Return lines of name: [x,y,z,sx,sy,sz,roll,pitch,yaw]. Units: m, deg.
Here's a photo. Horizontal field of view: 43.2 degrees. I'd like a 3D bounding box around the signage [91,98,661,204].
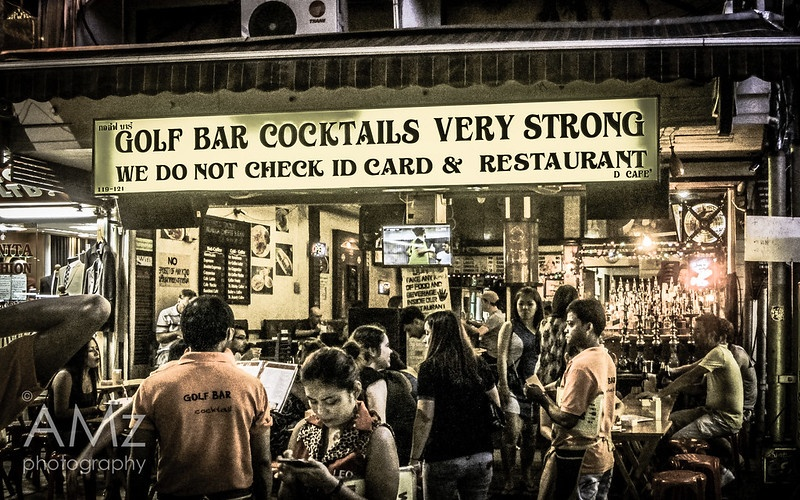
signage: [-0.226,-1.117,10.852,5.902,0.990,0.145,0,-4,4]
